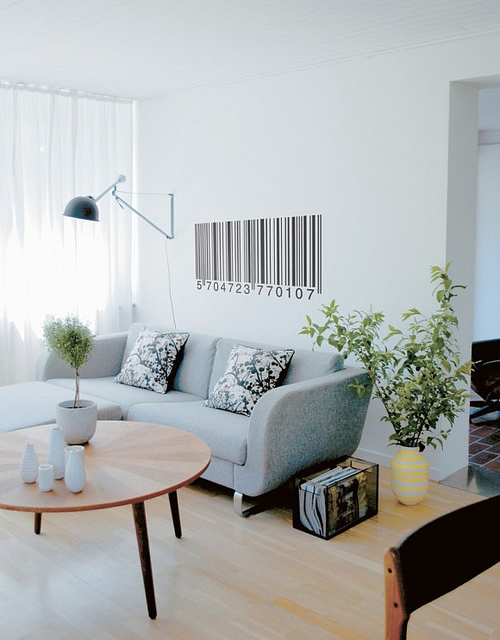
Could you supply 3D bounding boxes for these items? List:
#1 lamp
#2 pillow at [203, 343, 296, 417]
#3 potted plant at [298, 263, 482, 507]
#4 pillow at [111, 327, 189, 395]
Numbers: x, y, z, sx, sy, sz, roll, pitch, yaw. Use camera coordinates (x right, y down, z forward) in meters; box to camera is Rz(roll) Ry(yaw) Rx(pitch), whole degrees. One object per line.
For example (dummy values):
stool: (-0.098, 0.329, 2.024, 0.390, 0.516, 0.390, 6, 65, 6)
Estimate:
lamp: (-0.924, -0.921, 3.965, 0.684, 0.555, 1.402, 0, 3, -9)
pillow: (0.006, 0.327, 2.863, 0.124, 0.380, 0.409, 34, -17, -36)
potted plant: (0.794, 0.315, 2.791, 0.717, 1.205, 0.697, 1, 4, 22)
pillow: (-0.623, 0.269, 3.350, 0.436, 0.393, 0.132, 11, -16, 45)
